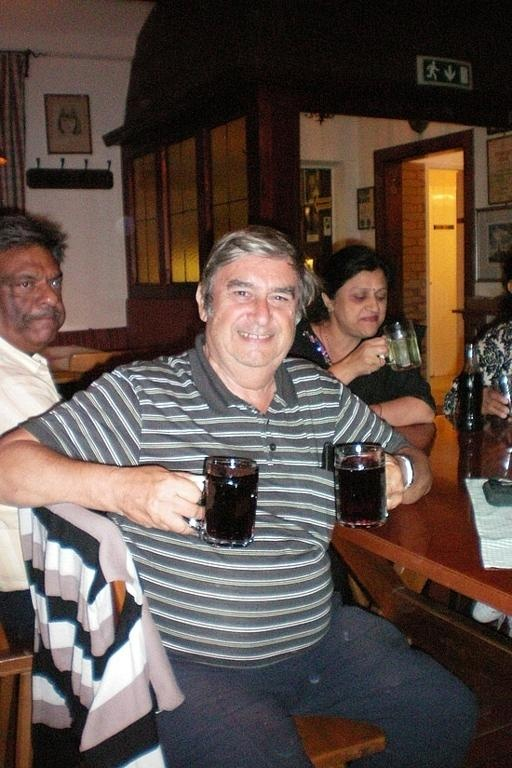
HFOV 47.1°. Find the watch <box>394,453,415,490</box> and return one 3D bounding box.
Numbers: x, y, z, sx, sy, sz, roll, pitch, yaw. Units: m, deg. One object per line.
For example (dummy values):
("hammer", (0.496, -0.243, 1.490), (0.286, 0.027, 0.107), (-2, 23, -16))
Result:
("watch", (0.315, 0.197, 1.291), (0.049, 0.060, 0.056), (-5, -4, 6))

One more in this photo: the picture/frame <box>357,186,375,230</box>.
("picture/frame", (1.166, -1.872, 6.289), (0.073, 0.473, 0.339), (-5, 5, -23))

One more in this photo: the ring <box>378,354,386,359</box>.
("ring", (0.410, -0.090, 1.933), (0.017, 0.017, 0.014), (-10, 20, 20))

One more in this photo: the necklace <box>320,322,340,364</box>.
("necklace", (0.284, -0.162, 2.274), (0.111, 0.144, 0.054), (-8, 8, 3))
